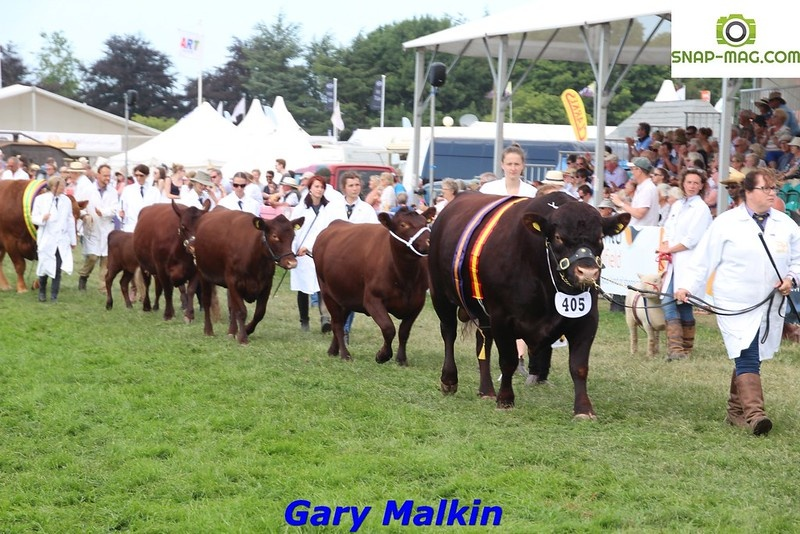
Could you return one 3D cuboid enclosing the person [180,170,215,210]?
[{"bbox_3d":[-3.952,-1.479,22.785,0.606,0.676,1.548,13,-2,-19],"label":"person"}]

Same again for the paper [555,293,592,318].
[{"bbox_3d":[2.096,0.452,14.349,0.371,0.219,0.014,-1,5,-4],"label":"paper"}]

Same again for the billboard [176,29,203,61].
[{"bbox_3d":[-8.225,-8.702,46.036,0.937,1.046,0.849,-1,6,-29],"label":"billboard"}]

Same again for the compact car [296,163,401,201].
[{"bbox_3d":[-1.018,-1.980,26.343,1.841,0.790,1.009,1,2,-5],"label":"compact car"}]
